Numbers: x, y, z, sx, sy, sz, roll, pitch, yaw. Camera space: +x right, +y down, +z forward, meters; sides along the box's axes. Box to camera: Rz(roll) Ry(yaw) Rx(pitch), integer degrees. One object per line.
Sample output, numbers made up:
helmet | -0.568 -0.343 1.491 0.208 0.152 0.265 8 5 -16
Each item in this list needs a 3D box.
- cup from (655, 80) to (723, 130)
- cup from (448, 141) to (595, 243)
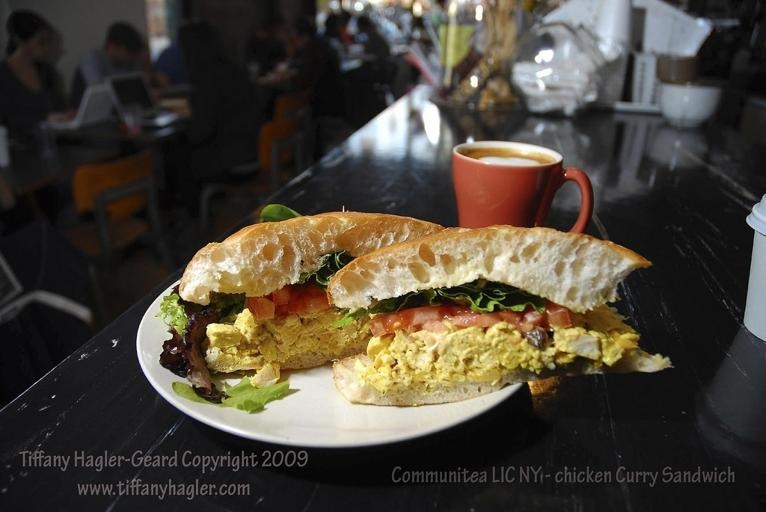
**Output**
cup | 1.885 -0.944 3.149 0.301 0.208 0.297 -3 25 1
cup | 0.501 -0.279 1.866 0.459 0.315 0.313 10 25 23
